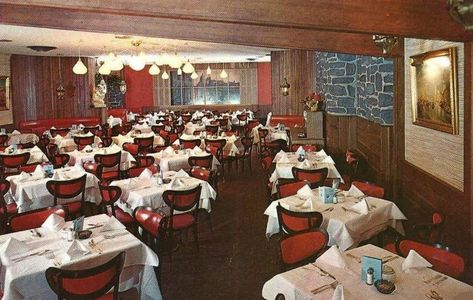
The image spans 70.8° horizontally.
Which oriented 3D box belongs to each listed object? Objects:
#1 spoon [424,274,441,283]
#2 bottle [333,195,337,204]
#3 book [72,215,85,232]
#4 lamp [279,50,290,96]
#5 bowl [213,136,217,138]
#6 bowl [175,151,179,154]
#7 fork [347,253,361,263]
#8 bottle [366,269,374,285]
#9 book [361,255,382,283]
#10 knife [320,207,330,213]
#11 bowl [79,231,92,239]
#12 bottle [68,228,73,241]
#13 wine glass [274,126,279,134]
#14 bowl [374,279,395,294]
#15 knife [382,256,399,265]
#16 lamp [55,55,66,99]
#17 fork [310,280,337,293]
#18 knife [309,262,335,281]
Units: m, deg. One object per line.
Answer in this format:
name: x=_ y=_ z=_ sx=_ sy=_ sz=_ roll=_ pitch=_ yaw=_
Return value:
spoon: x=1.837 y=1.216 z=3.103 sx=0.120 sy=0.015 sz=0.075 roll=-7 pitch=27 yaw=-14
bottle: x=1.370 y=0.709 z=4.688 sx=0.075 sy=0.129 sz=0.086 roll=-1 pitch=2 yaw=12
book: x=-1.820 y=0.877 z=3.840 sx=0.052 sy=0.176 sz=0.139 roll=6 pitch=15 yaw=21
lamp: x=1.916 y=-2.695 z=12.993 sx=0.388 sy=1.227 sz=0.830 roll=2 pitch=14 yaw=9
bowl: x=-0.599 y=-0.358 z=9.353 sx=0.082 sy=0.052 sz=0.085 roll=-1 pitch=4 yaw=0
bowl: x=-1.367 y=0.055 z=7.611 sx=0.056 sy=0.030 sz=0.077 roll=4 pitch=8 yaw=19
fork: x=1.202 y=1.107 z=3.410 sx=0.094 sy=0.015 sz=0.169 roll=-13 pitch=20 yaw=-41
bottle: x=1.224 y=1.170 z=3.052 sx=0.061 sy=0.148 sz=0.042 roll=4 pitch=14 yaw=16
book: x=1.237 y=1.116 z=3.062 sx=0.217 sy=0.309 sz=0.039 roll=3 pitch=3 yaw=23
knife: x=1.166 y=0.808 z=4.386 sx=0.048 sy=0.043 sz=0.235 roll=12 pitch=12 yaw=35
bowl: x=-1.753 y=0.985 z=3.855 sx=0.136 sy=0.046 sz=0.136 roll=0 pitch=15 yaw=0
bottle: x=-1.885 y=0.973 z=3.791 sx=0.064 sy=0.106 sz=0.120 roll=-4 pitch=15 yaw=-18
wine glass: x=1.326 y=-0.672 z=11.130 sx=0.211 sy=0.255 sz=0.219 roll=-1 pitch=7 yaw=-4
bowl: x=1.327 y=1.238 z=2.998 sx=0.154 sy=0.078 sz=0.134 roll=-7 pitch=17 yaw=-27
knife: x=1.544 y=1.111 z=3.376 sx=0.244 sy=0.021 sz=0.080 roll=-9 pitch=17 yaw=-30
lamp: x=-7.412 y=-3.005 z=13.966 sx=0.353 sy=1.792 sz=0.910 roll=-7 pitch=16 yaw=-26
fork: x=0.792 y=1.262 z=3.040 sx=0.259 sy=0.036 sz=0.044 roll=-11 pitch=21 yaw=-26
knife: x=0.841 y=1.180 z=3.222 sx=0.068 sy=0.021 sz=0.253 roll=0 pitch=7 yaw=-26
